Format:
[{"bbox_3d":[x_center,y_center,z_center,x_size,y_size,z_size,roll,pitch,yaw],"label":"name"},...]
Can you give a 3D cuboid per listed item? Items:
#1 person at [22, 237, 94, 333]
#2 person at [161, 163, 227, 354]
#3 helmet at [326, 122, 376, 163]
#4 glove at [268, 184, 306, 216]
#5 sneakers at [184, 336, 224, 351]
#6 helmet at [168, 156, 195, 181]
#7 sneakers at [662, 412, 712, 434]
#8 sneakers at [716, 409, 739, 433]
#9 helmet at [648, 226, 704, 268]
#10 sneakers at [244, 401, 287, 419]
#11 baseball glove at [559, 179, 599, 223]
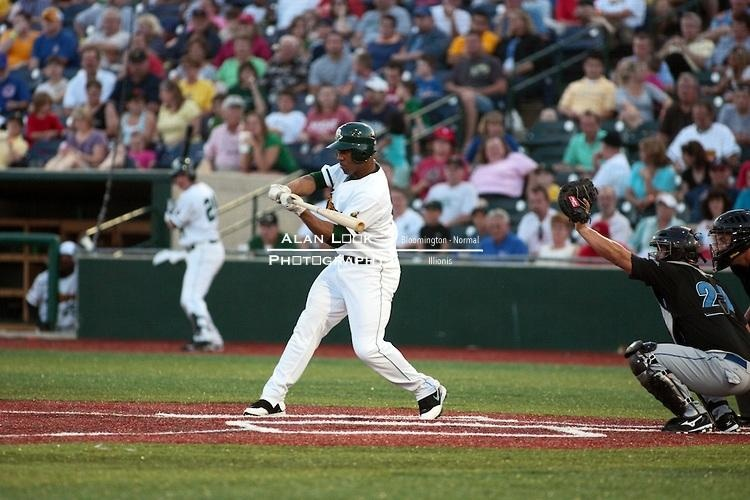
[{"bbox_3d":[-4.232,0.514,19.234,0.707,1.052,0.630,0,11,-3],"label":"person"},{"bbox_3d":[-2.195,0.133,17.946,0.677,2.385,0.470,0,12,-6],"label":"person"},{"bbox_3d":[-0.239,-1.076,14.609,0.451,0.301,0.349,-7,14,-12],"label":"helmet"},{"bbox_3d":[-0.881,-0.520,14.615,0.405,0.146,0.228,34,-44,3],"label":"glove"},{"bbox_3d":[-2.106,1.170,18.050,0.368,0.122,0.215,2,-6,-8],"label":"sneakers"},{"bbox_3d":[-2.359,-0.984,17.852,0.311,0.255,0.241,-3,8,0],"label":"helmet"},{"bbox_3d":[3.111,1.743,14.534,0.478,0.198,0.177,1,-4,3],"label":"sneakers"},{"bbox_3d":[3.500,1.730,14.617,0.268,0.242,0.150,5,-8,-1],"label":"sneakers"},{"bbox_3d":[3.002,-0.037,14.514,0.471,0.341,0.363,3,-3,15],"label":"helmet"},{"bbox_3d":[-1.092,1.608,14.578,0.353,0.118,0.174,3,-8,-13],"label":"sneakers"},{"bbox_3d":[2.007,-0.496,14.487,0.449,0.442,0.380,3,-12,-2],"label":"baseball glove"}]
